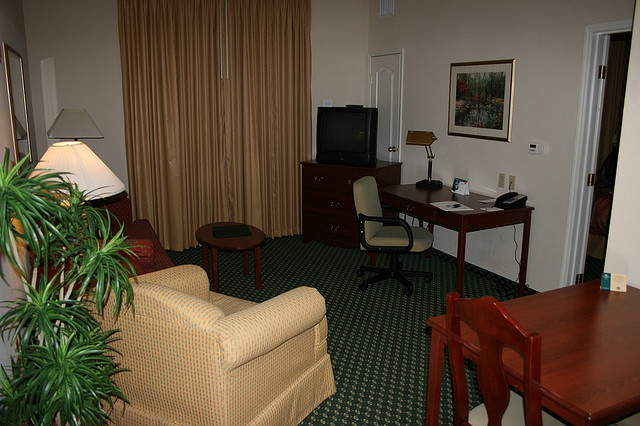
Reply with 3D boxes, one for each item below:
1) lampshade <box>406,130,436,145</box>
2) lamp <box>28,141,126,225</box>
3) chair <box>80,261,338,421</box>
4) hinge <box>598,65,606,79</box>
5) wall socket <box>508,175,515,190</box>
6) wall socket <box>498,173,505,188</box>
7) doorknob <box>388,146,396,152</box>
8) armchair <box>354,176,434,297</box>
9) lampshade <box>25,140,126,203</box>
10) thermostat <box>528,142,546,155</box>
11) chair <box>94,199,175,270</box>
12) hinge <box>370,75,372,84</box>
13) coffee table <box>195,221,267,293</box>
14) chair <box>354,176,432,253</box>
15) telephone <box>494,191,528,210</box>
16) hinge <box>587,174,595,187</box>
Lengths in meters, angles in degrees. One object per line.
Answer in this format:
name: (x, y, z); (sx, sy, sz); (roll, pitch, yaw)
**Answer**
lampshade: (1.308, -0.987, 5.878); (0.305, 0.187, 0.101); (4, -14, 29)
lamp: (-1.621, -0.251, 3.010); (0.688, 0.411, 0.539); (11, 19, 37)
chair: (-0.762, 0.898, 3.024); (0.940, 0.768, 0.947); (8, 16, 31)
hinge: (2.743, -1.370, 4.372); (0.067, 0.128, 0.011); (1, 15, 7)
wall socket: (2.164, -0.349, 5.079); (0.023, 0.157, 0.075); (-10, 17, -32)
wall socket: (2.095, -0.385, 5.187); (0.014, 0.156, 0.077); (-10, 18, -32)
doorknob: (1.055, -0.944, 6.615); (0.049, 0.083, 0.157); (-9, 17, -28)
armchair: (0.838, 0.221, 5.214); (0.909, 1.276, 0.764); (-1, 15, -1)
lampshade: (-1.741, -0.267, 3.180); (0.683, 0.425, 0.672); (-13, 14, -35)
thermostat: (2.316, -0.691, 4.809); (0.041, 0.126, 0.199); (-9, 17, -30)
chair: (-1.765, 0.158, 4.289); (0.238, 0.312, 0.723); (-14, 40, -28)
hinge: (0.774, -2.029, 6.805); (0.039, 0.109, 0.011); (10, 18, 34)
coffee table: (-1.025, 0.324, 5.126); (0.753, 0.584, 0.734); (-7, 20, -22)
chair: (0.866, -0.002, 5.162); (0.939, 0.807, 0.815); (0, 15, 8)
telephone: (2.050, -0.134, 4.814); (0.254, 0.105, 0.188); (-11, 17, -24)
hinge: (2.737, -0.332, 4.541); (0.074, 0.120, 0.028); (-4, 15, -12)
